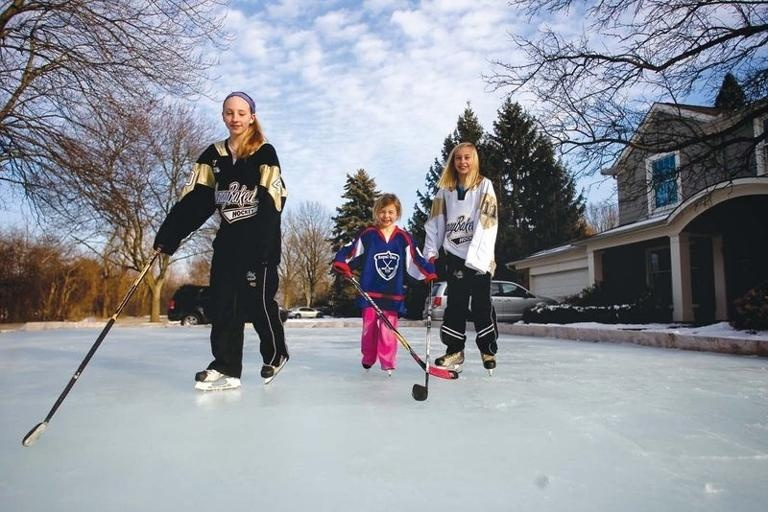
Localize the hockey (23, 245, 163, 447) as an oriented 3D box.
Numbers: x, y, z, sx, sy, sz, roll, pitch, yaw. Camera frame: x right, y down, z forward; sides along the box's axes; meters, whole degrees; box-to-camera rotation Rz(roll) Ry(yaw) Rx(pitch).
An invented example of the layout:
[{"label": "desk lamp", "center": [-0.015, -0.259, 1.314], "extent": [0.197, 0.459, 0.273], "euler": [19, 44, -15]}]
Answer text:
[{"label": "hockey", "center": [-5.158, 1.222, 10.603], "extent": [0.151, 3.935, 0.473], "euler": [1, -50, 20]}]

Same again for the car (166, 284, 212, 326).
[{"label": "car", "center": [-5.796, 1.495, 18.357], "extent": [1.468, 0.827, 0.912], "euler": [-3, -2, -9]}]

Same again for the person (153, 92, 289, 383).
[{"label": "person", "center": [-1.695, -0.180, 6.708], "extent": [1.223, 3.224, 0.673], "euler": [2, -7, -11]}]

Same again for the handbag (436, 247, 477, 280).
[{"label": "handbag", "center": [0.923, 0.078, 7.624], "extent": [0.443, 0.344, 0.382], "euler": [16, -21, 5]}]

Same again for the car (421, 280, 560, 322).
[{"label": "car", "center": [2.882, 1.221, 16.470], "extent": [3.404, 1.198, 1.464], "euler": [-1, -6, -12]}]

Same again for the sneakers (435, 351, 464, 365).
[{"label": "sneakers", "center": [0.818, 1.226, 7.363], "extent": [0.397, 0.174, 0.146], "euler": [7, -10, -30]}]
